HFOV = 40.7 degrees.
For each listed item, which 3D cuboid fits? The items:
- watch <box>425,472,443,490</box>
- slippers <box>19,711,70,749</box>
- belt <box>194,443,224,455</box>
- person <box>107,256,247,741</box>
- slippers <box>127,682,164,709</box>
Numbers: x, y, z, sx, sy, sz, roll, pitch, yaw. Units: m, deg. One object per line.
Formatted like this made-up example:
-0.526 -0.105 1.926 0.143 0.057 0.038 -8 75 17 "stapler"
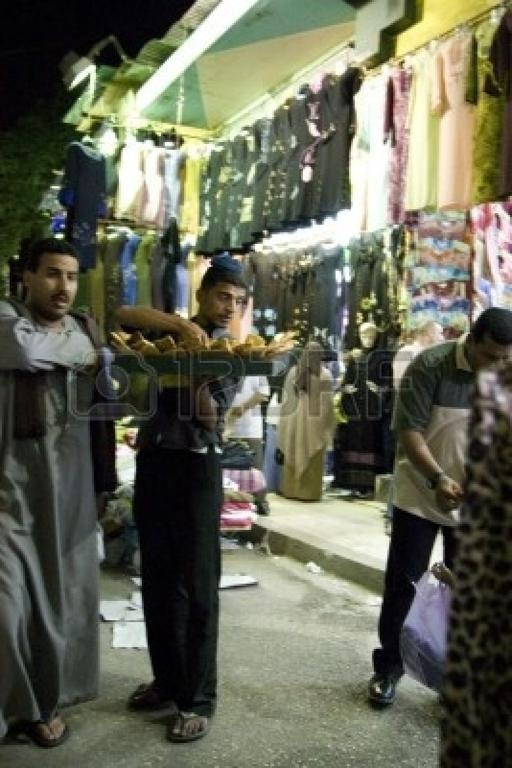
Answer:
0.536 0.296 2.110 0.036 0.055 0.049 37 3 15 "watch"
-0.586 0.993 1.979 0.067 0.040 0.134 8 -14 -40 "slippers"
-0.138 0.195 2.051 0.065 0.017 0.039 -10 -14 35 "belt"
-0.213 0.350 2.051 0.346 1.421 0.657 1 -1 -5 "person"
-0.361 1.018 2.286 0.068 0.058 0.126 8 -7 -8 "slippers"
